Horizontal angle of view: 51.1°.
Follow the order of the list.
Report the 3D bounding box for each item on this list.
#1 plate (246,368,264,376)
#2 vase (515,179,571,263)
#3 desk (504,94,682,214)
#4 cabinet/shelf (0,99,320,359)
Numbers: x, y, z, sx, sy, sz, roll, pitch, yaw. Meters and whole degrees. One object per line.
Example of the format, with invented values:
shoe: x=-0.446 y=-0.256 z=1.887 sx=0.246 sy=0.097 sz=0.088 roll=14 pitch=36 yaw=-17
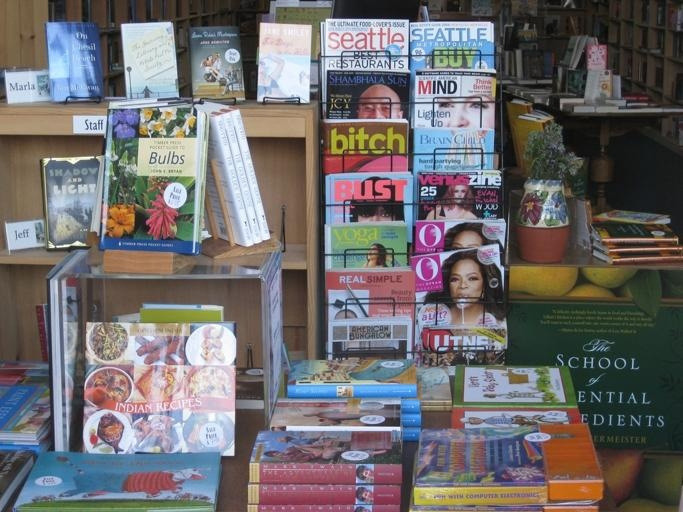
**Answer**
plate: x=-0.284 y=0.379 z=2.347 sx=0.056 sy=0.013 sz=0.056 roll=-2 pitch=19 yaw=-2
vase: x=0.821 y=-0.146 z=2.924 sx=0.215 sy=0.341 sz=0.115 roll=1 pitch=16 yaw=10
desk: x=2.293 y=-1.100 z=6.814 sx=1.283 sy=1.162 sz=1.284 roll=0 pitch=23 yaw=6
cabinet/shelf: x=-0.603 y=-0.117 z=2.402 sx=1.104 sy=0.987 sz=0.360 roll=0 pitch=20 yaw=-6
